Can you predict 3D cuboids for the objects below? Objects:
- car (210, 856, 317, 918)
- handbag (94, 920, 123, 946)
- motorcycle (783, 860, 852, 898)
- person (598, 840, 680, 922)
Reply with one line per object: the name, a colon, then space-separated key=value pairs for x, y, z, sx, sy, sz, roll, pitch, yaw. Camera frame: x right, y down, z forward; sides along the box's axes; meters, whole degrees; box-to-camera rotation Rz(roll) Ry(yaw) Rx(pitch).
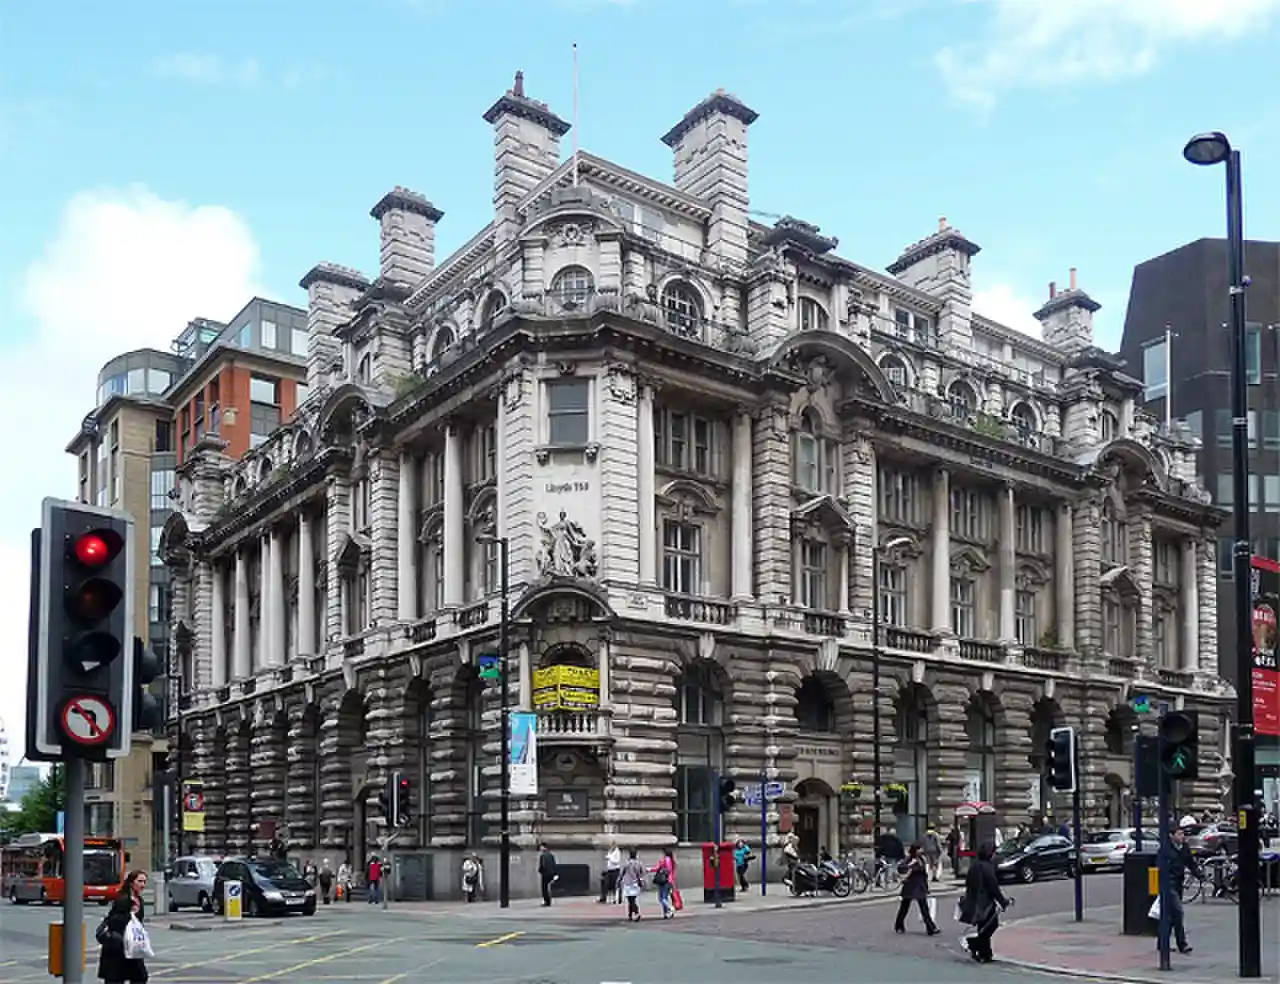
car: x=-13.276 y=14.337 z=87.411 sx=2.245 sy=1.916 sz=4.284 roll=10 pitch=-14 yaw=-42
handbag: x=-13.585 y=11.541 z=62.800 sx=0.512 sy=0.622 sz=0.656 roll=-1 pitch=-7 yaw=-2
motorcycle: x=6.482 y=14.053 z=87.305 sx=2.043 sy=1.431 sz=1.138 roll=-2 pitch=-18 yaw=3
person: x=0.264 y=13.330 z=81.851 sx=1.152 sy=2.994 sz=1.512 roll=4 pitch=-9 yaw=-26
